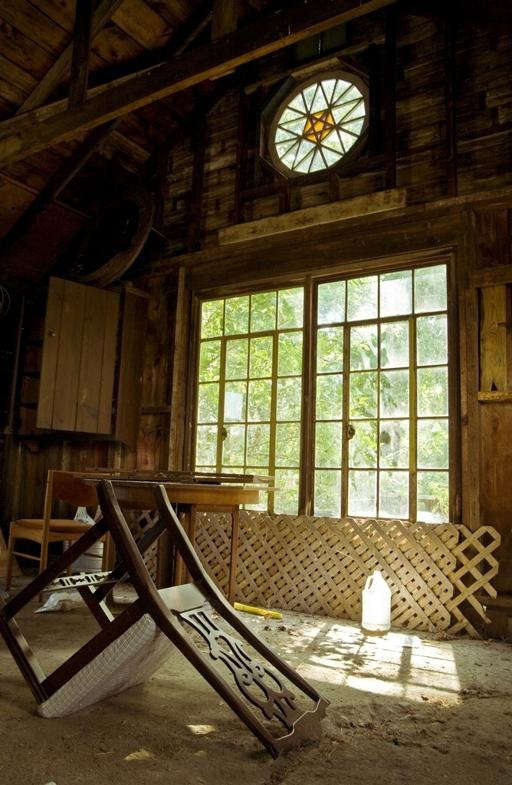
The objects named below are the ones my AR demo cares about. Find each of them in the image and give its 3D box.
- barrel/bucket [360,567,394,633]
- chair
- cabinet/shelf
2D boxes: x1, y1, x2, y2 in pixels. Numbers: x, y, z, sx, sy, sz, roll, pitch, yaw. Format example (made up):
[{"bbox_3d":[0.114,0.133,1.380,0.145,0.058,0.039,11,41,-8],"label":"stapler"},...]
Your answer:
[{"bbox_3d":[0.716,1.253,3.538,0.168,0.346,0.238,1,-10,10],"label":"barrel/bucket"},{"bbox_3d":[-0.248,0.709,2.058,0.965,0.781,1.123,11,-13,-40],"label":"chair"},{"bbox_3d":[-1.671,-0.235,5.528,0.959,1.496,1.265,9,-12,-34],"label":"cabinet/shelf"}]
